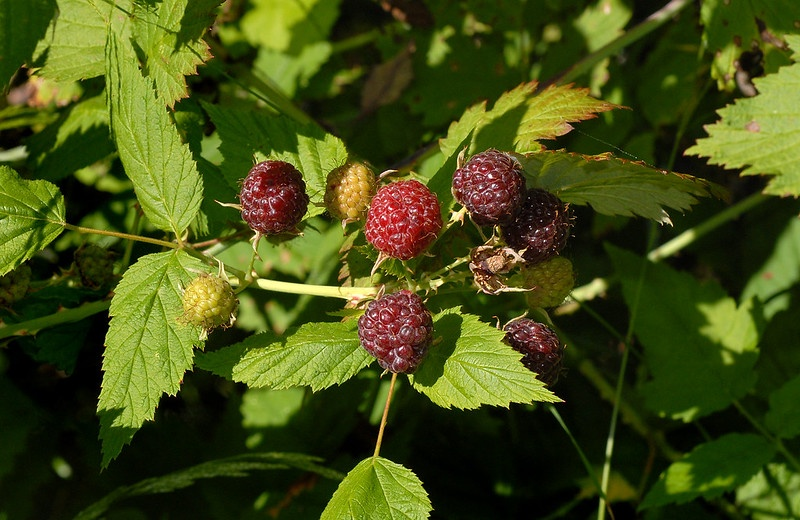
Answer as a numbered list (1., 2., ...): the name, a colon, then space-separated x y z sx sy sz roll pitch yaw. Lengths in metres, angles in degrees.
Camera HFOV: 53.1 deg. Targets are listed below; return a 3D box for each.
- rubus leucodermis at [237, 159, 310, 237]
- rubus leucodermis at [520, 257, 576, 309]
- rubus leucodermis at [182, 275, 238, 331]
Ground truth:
1. rubus leucodermis: -0.584 -0.287 3.707 0.287 0.340 0.254 -1 -18 -5
2. rubus leucodermis: 0.689 0.137 3.809 0.220 0.225 0.237 5 -16 -30
3. rubus leucodermis: -0.872 0.195 3.675 0.239 0.274 0.261 2 13 -13
